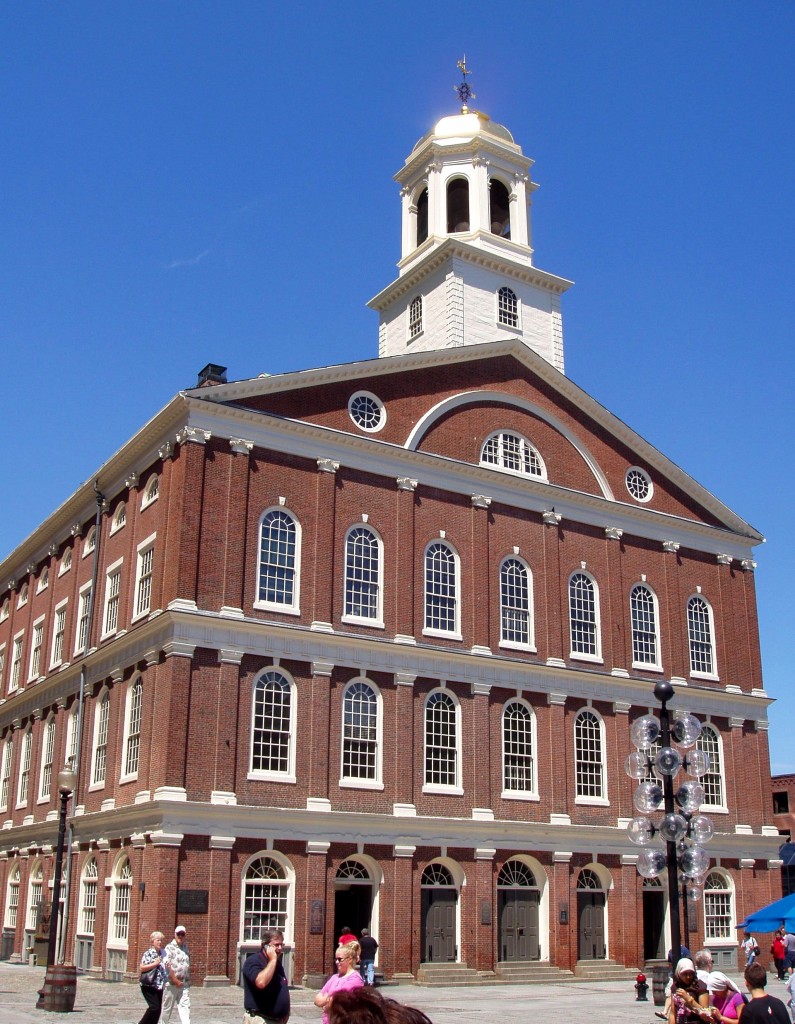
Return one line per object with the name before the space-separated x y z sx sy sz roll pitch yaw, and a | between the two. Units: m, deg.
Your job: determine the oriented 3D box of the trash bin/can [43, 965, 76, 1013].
trash bin/can | -6.115 8.636 19.402 0.564 0.777 0.556 8 -24 -20
